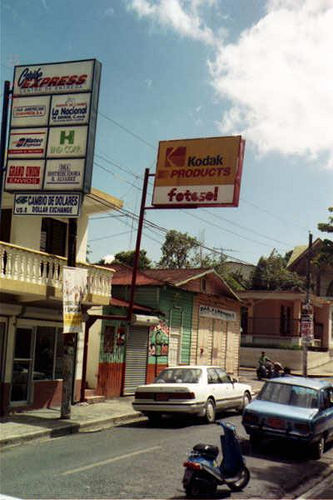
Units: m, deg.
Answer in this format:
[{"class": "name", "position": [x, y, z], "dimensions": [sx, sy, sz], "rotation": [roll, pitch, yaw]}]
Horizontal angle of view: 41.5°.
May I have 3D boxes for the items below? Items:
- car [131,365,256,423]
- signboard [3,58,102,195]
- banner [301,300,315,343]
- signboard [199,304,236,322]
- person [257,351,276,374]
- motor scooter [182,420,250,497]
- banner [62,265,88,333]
[{"class": "car", "position": [0.761, 3.949, 11.982], "dimensions": [1.522, 1.525, 3.271], "rotation": [-1, -11, 36]}, {"class": "signboard", "position": [-3.130, -3.406, 12.024], "dimensions": [2.495, 3.818, 0.296], "rotation": [3, -9, 11]}, {"class": "banner", "position": [8.395, 4.353, 26.742], "dimensions": [0.619, 2.629, 0.920], "rotation": [-2, 9, -3]}, {"class": "signboard", "position": [2.982, 3.691, 25.702], "dimensions": [0.236, 0.745, 5.216], "rotation": [1, -10, 28]}, {"class": "person", "position": [6.802, 7.625, 30.091], "dimensions": [1.000, 1.036, 1.789], "rotation": [1, -6, 14]}, {"class": "motor scooter", "position": [0.562, 2.409, 5.022], "dimensions": [0.413, 0.786, 1.042], "rotation": [-2, -11, 40]}, {"class": "banner", "position": [-2.379, 1.284, 11.439], "dimensions": [0.403, 1.705, 1.072], "rotation": [2, -9, 18]}]
